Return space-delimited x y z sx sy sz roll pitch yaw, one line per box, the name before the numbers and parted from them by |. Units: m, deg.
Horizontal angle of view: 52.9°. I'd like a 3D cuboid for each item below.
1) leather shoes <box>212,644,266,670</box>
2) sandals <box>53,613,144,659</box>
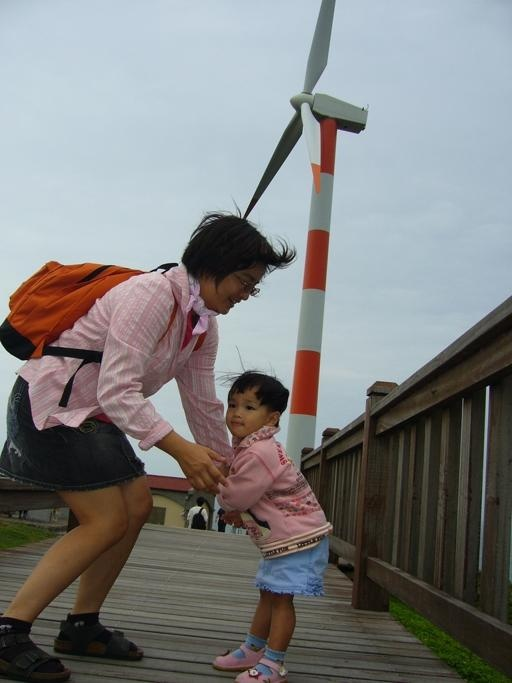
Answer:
leather shoes | -0.053 0.932 1.539 0.143 0.057 0.051 10 -12 -23
sandals | -0.417 0.854 1.526 0.307 0.128 0.106 1 -11 -2
